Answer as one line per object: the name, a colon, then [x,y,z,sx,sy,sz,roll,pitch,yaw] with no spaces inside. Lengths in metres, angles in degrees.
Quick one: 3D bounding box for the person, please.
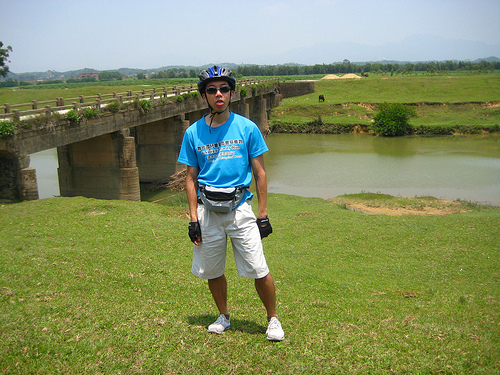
person: [-0.275,0.185,5.543,1.525,3.749,0.670,4,8,5]
